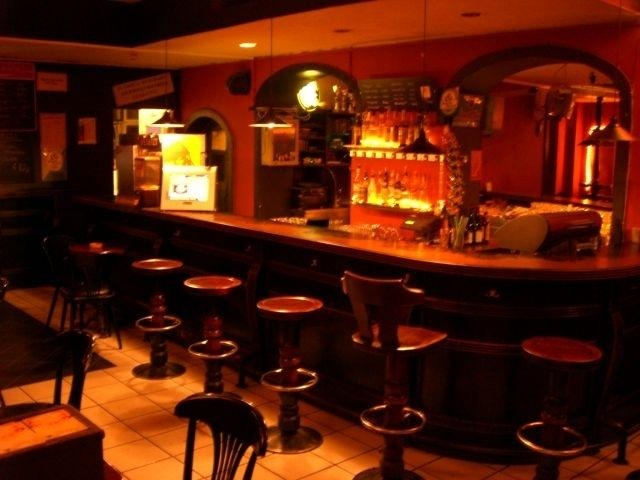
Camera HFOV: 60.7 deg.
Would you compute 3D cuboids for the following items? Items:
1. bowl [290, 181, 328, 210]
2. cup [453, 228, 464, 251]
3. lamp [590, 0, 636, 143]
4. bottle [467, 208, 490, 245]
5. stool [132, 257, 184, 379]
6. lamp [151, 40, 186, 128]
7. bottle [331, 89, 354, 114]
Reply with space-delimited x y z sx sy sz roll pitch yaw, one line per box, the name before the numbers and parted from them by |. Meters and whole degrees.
bowl | -0.179 -0.756 9.343 0.524 0.306 0.517 0 7 0
cup | 1.241 -0.003 4.908 0.098 0.170 0.197 2 10 14
lamp | 2.847 -1.662 5.260 0.364 1.221 0.701 5 11 25
bottle | 1.481 -0.116 5.152 0.184 0.299 0.448 3 10 17
stool | -1.792 0.774 6.089 0.566 1.198 1.159 -3 10 -14
lamp | -2.319 -2.313 8.469 0.410 1.166 3.233 -3 10 -14
bottle | 0.382 -2.193 8.653 0.321 0.386 0.420 3 10 4
